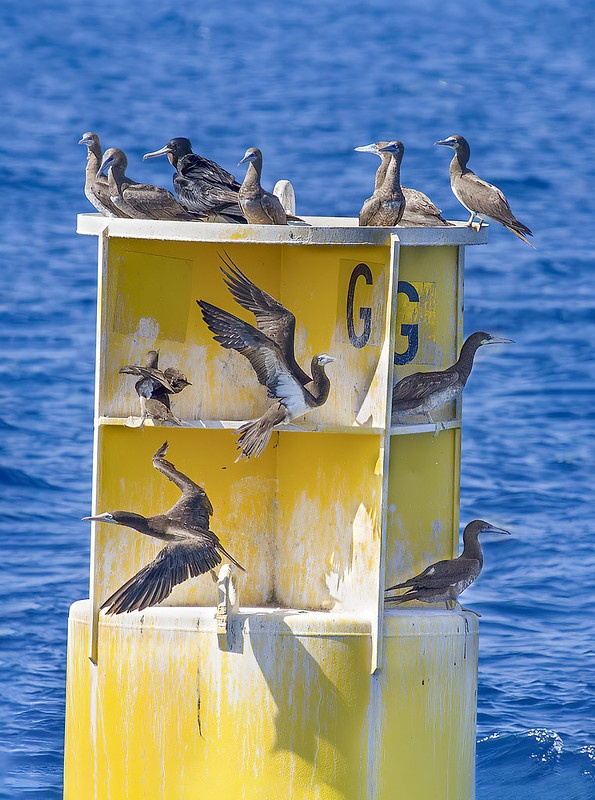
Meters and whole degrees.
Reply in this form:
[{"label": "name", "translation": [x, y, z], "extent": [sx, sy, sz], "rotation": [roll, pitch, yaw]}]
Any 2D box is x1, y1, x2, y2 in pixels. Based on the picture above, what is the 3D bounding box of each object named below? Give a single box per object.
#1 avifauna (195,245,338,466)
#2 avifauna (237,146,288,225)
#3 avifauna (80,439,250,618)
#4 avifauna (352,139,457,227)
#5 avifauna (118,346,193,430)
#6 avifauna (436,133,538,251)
[{"label": "avifauna", "translation": [-0.070, -0.406, 20.438], "extent": [1.036, 1.570, 1.694], "rotation": [2, 17, 37]}, {"label": "avifauna", "translation": [-0.264, -1.682, 20.823], "extent": [0.422, 0.598, 0.704], "rotation": [3, 49, -2]}, {"label": "avifauna", "translation": [-0.984, 1.204, 20.464], "extent": [1.296, 0.697, 1.863], "rotation": [6, 42, 7]}, {"label": "avifauna", "translation": [1.043, -1.815, 21.793], "extent": [0.976, 0.428, 1.002], "rotation": [0, 65, 22]}, {"label": "avifauna", "translation": [-1.168, -0.064, 20.576], "extent": [0.566, 0.550, 0.669], "rotation": [2, 50, -4]}, {"label": "avifauna", "translation": [1.684, -1.869, 22.173], "extent": [0.934, 0.360, 0.912], "rotation": [7, 84, 10]}]
